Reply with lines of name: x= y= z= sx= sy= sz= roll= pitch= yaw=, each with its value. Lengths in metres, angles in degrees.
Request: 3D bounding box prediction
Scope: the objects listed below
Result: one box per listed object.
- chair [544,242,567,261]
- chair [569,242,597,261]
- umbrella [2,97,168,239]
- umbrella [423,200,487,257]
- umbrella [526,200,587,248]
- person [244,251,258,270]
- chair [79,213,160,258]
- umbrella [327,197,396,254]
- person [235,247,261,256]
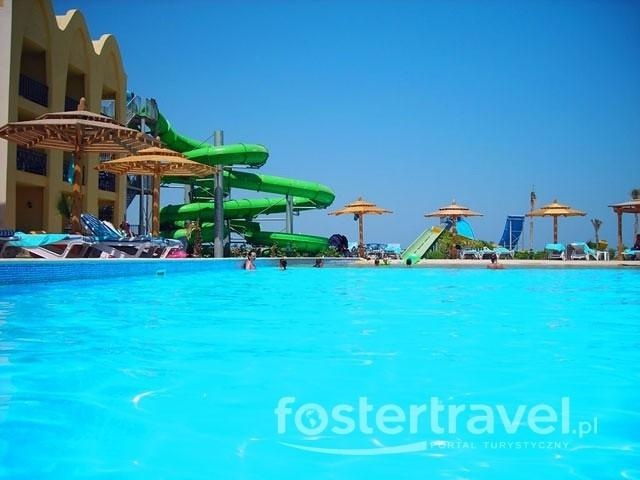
chair: x=8.378 y=0.475 z=21.909 sx=0.864 sy=0.612 sz=0.762 roll=0 pitch=-5 yaw=10
chair: x=9.629 y=0.435 z=22.641 sx=0.588 sy=0.531 sz=0.886 roll=2 pitch=5 yaw=42
umbrella: x=-5.703 y=-1.562 z=14.588 sx=3.113 sy=2.777 sz=2.438 roll=-2 pitch=6 yaw=-17
umbrella: x=5.100 y=-0.224 z=23.797 sx=2.444 sy=2.551 sz=2.485 roll=1 pitch=-2 yaw=-7
umbrella: x=8.851 y=-0.781 z=22.793 sx=2.095 sy=1.745 sz=2.119 roll=0 pitch=0 yaw=-3
person: x=-2.029 y=0.506 z=18.229 sx=0.376 sy=0.647 sz=0.725 roll=-3 pitch=9 yaw=-14
chair: x=-4.856 y=-0.063 z=14.866 sx=1.646 sy=1.047 sz=1.013 roll=0 pitch=4 yaw=-15
umbrella: x=1.836 y=-0.505 z=23.149 sx=2.205 sy=2.420 sz=2.136 roll=0 pitch=-4 yaw=-1
person: x=-3.028 y=0.511 z=24.836 sx=0.599 sy=0.322 sz=0.773 roll=0 pitch=-1 yaw=-12
